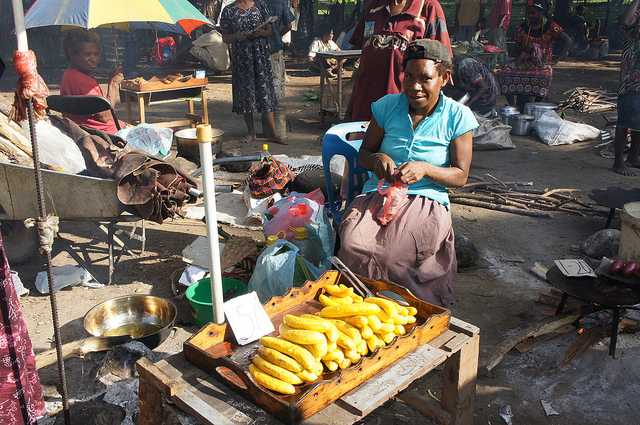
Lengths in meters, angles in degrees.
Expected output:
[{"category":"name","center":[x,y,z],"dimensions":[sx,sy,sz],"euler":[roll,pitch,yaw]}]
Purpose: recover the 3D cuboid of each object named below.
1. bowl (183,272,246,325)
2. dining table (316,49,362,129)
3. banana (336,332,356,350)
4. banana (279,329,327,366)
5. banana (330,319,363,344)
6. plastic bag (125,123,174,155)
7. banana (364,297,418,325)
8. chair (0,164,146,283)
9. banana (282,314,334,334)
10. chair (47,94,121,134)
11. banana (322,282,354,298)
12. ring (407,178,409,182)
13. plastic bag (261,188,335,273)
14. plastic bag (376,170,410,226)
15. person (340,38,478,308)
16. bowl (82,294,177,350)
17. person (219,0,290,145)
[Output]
[{"category":"bowl","center":[-1.009,0.882,4.923],"dimensions":[0.557,0.331,0.538],"euler":[0,21,0]},{"category":"dining table","center":[0.438,-2.532,10.841],"dimensions":[0.754,1.369,1.476],"euler":[6,18,24]},{"category":"banana","center":[0.170,0.833,3.342],"dimensions":[0.118,0.060,0.039],"euler":[27,1,18]},{"category":"banana","center":[-0.116,0.826,3.361],"dimensions":[0.350,0.158,0.090],"euler":[-21,37,29]},{"category":"banana","center":[0.186,0.769,3.405],"dimensions":[0.109,0.045,0.220],"euler":[-33,42,-32]},{"category":"plastic bag","center":[-2.367,-0.999,7.249],"dimensions":[0.602,0.384,0.506],"euler":[-4,16,-11]},{"category":"banana","center":[0.522,0.683,3.553],"dimensions":[0.246,0.061,0.202],"euler":[7,16,-32]},{"category":"chair","center":[-2.478,0.062,5.522],"dimensions":[1.716,1.054,0.853],"euler":[11,8,-8]},{"category":"banana","center":[-0.079,0.724,3.352],"dimensions":[0.406,0.111,0.130],"euler":[1,5,16]},{"category":"chair","center":[-3.042,-1.247,6.816],"dimensions":[0.767,0.543,0.773],"euler":[-6,17,-19]},{"category":"banana","center":[0.098,0.570,3.831],"dimensions":[0.289,0.072,0.099],"euler":[6,47,30]},{"category":"ring","center":[0.729,-0.264,4.335],"dimensions":[0.022,0.022,0.022],"euler":[-3,34,2]},{"category":"plastic bag","center":[-0.133,0.134,5.345],"dimensions":[0.864,0.820,0.599],"euler":[4,-4,-7]},{"category":"plastic bag","center":[0.623,-0.128,4.585],"dimensions":[0.291,0.469,0.318],"euler":[-1,27,3]},{"category":"person","center":[0.774,-0.335,4.515],"dimensions":[1.063,2.193,0.913],"euler":[4,17,15]},{"category":"bowl","center":[-1.645,1.006,4.646],"dimensions":[0.769,0.390,0.545],"euler":[2,16,10]},{"category":"person","center":[-1.155,-2.345,8.971],"dimensions":[0.931,2.421,0.558],"euler":[-4,17,-10]}]
